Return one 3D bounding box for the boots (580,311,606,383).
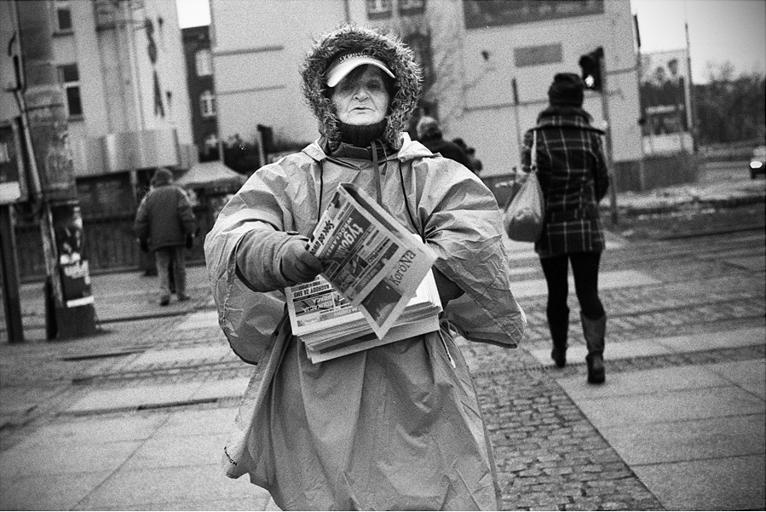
[{"bbox_3d":[1.744,0.740,7.083,0.223,0.568,0.197,-6,8,-10],"label":"boots"}]

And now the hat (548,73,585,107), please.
[{"bbox_3d":[1.491,-1.351,7.059,0.201,0.257,0.289,5,7,28],"label":"hat"}]
